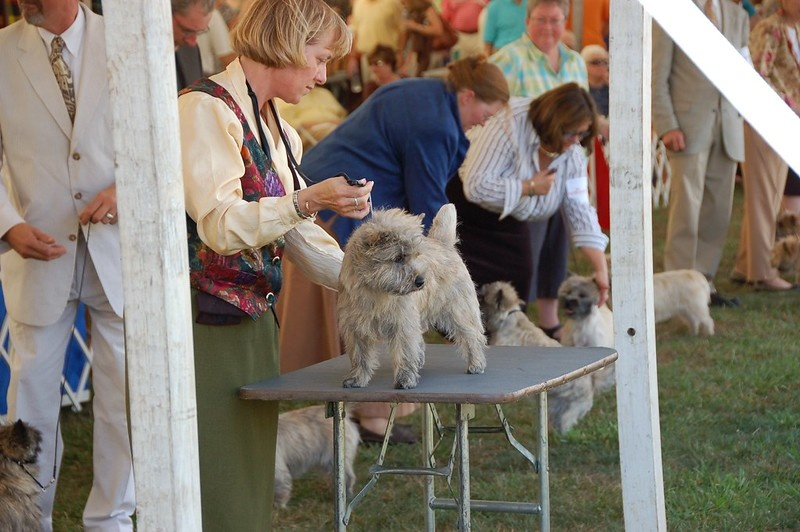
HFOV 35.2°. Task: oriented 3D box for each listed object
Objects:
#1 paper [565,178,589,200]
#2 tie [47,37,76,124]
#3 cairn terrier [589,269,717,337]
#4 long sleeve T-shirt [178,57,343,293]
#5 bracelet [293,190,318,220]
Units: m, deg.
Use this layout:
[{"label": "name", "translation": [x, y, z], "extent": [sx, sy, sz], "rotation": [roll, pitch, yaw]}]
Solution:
[{"label": "paper", "translation": [1.277, -0.558, 9.122], "extent": [0.149, 0.162, 0.050], "rotation": [-2, 2, -20]}, {"label": "tie", "translation": [-1.975, -1.105, 7.377], "extent": [0.133, 0.570, 0.119], "rotation": [-12, -4, 33]}, {"label": "cairn terrier", "translation": [1.873, 0.324, 9.064], "extent": [0.812, 0.521, 0.235], "rotation": [-11, 13, -1]}, {"label": "long sleeve T-shirt", "translation": [-0.741, -0.518, 6.727], "extent": [0.849, 1.228, 0.482], "rotation": [-2, -3, -40]}, {"label": "bracelet", "translation": [-0.497, -0.310, 6.572], "extent": [0.118, 0.147, 0.054], "rotation": [-2, -16, -45]}]
